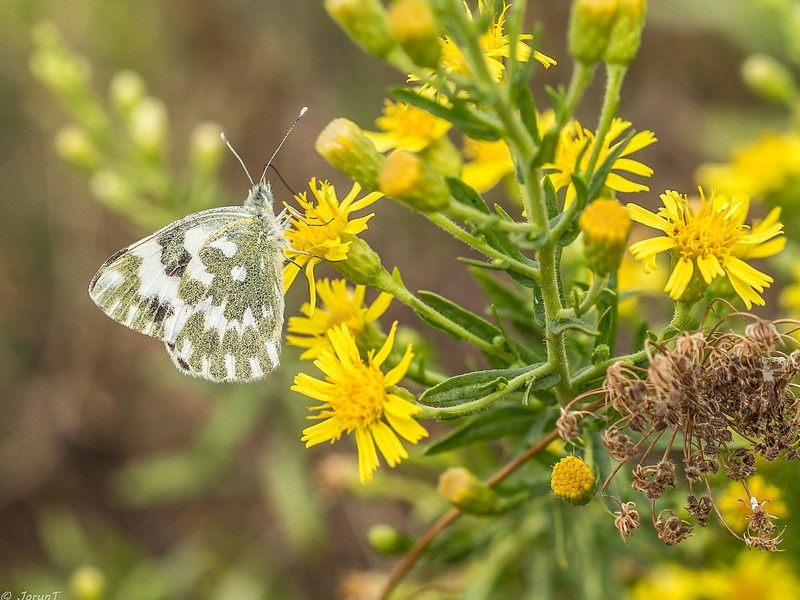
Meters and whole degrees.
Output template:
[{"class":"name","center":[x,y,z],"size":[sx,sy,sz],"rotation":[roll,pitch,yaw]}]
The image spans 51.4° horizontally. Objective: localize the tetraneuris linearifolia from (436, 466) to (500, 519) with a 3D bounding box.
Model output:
[{"class":"tetraneuris linearifolia","center":[0.287,0.785,3.401],"size":[0.256,0.158,0.154],"rotation":[9,56,2]}]

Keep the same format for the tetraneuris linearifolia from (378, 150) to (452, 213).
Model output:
[{"class":"tetraneuris linearifolia","center":[0.049,-0.432,3.078],"size":[0.168,0.143,0.288],"rotation":[-3,100,-6]}]

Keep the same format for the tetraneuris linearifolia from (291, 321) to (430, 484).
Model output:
[{"class":"tetraneuris linearifolia","center":[-0.172,0.378,3.304],"size":[0.461,0.366,0.576],"rotation":[-16,59,-14]}]

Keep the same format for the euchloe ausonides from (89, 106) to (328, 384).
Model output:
[{"class":"euchloe ausonides","center":[-0.970,-0.097,4.421],"size":[0.780,1.901,1.064],"rotation":[7,24,23]}]

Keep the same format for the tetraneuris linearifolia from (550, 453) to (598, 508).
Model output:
[{"class":"tetraneuris linearifolia","center":[0.696,0.717,3.307],"size":[0.185,0.139,0.150],"rotation":[29,59,15]}]
